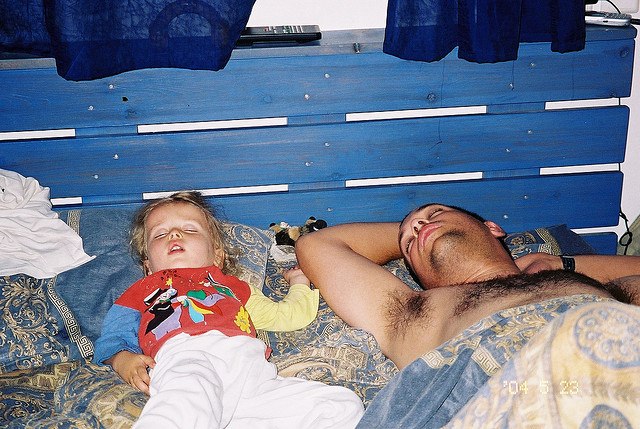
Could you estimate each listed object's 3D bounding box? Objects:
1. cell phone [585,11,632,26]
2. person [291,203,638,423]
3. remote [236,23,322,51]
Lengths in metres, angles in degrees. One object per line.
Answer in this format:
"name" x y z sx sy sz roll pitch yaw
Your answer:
"cell phone" 1.382 -0.934 2.536 0.159 0.030 0.144 3 13 -2
"person" 0.535 0.329 1.819 1.034 0.344 0.919 -5 25 -5
"remote" -0.195 -0.826 2.482 0.496 0.128 0.100 -3 -40 -4
